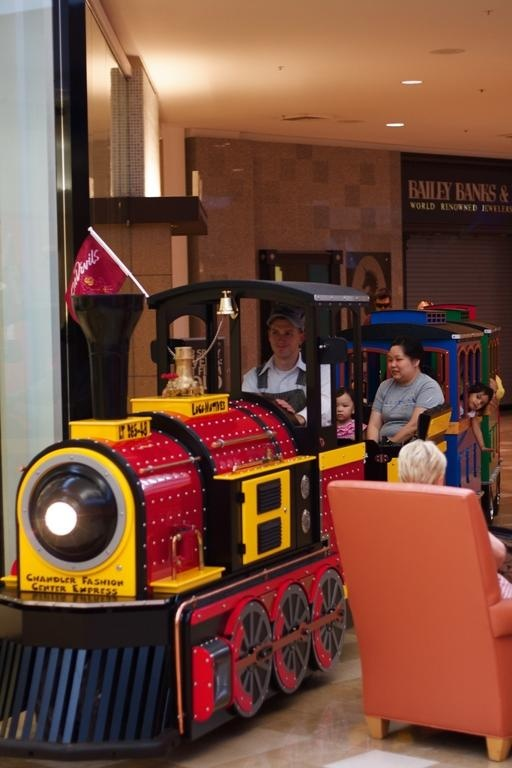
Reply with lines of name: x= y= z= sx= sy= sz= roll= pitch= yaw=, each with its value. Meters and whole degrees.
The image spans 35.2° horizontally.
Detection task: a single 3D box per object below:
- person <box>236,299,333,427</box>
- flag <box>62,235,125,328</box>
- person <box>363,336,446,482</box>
person: x=0.150 y=-0.038 z=4.727 sx=0.564 sy=0.881 sz=0.499 roll=-2 pitch=-15 yaw=19
flag: x=-0.666 y=-0.410 z=3.305 sx=0.287 sy=0.704 sz=0.065 roll=-18 pitch=-43 yaw=7
person: x=1.081 y=0.209 z=6.212 sx=0.695 sy=1.143 sz=0.583 roll=-5 pitch=4 yaw=-37
